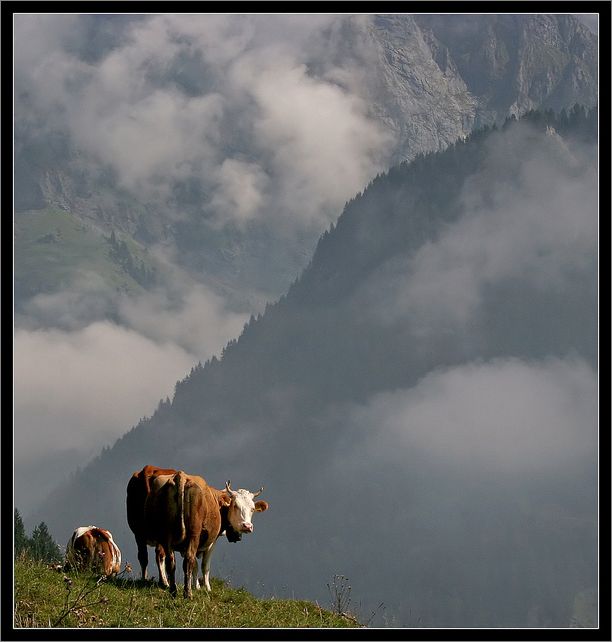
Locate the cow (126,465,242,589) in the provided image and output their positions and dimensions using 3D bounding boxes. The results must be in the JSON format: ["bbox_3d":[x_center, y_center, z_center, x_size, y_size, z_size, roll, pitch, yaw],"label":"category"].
[{"bbox_3d":[-3.387,6.191,40.620,3.217,2.504,1.274,-2,4,15],"label":"cow"}]

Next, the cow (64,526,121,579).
[{"bbox_3d":[-6.064,6.727,40.654,0.871,1.564,2.424,3,-8,-17],"label":"cow"}]

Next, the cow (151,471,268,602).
[{"bbox_3d":[-3.048,6.113,40.456,3.286,3.554,1.999,3,-4,-43],"label":"cow"}]
